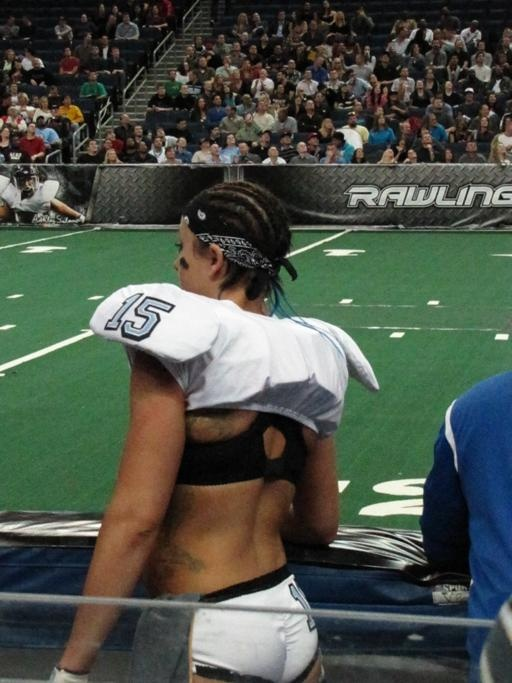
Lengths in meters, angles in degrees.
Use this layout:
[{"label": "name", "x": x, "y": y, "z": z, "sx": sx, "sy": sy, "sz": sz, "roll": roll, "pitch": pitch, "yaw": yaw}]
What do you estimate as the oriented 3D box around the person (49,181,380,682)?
[{"label": "person", "x": -0.029, "y": 0.145, "z": 1.545, "sx": 0.425, "sy": 1.008, "sz": 0.670, "roll": -3, "pitch": -15, "yaw": 18}]
